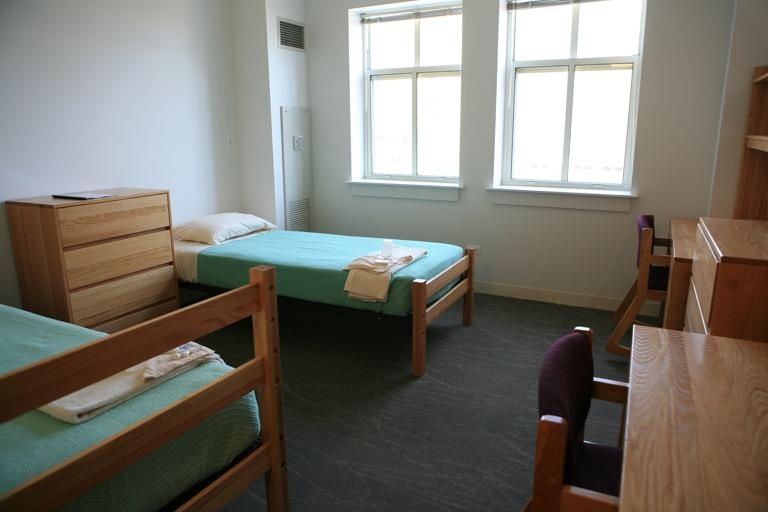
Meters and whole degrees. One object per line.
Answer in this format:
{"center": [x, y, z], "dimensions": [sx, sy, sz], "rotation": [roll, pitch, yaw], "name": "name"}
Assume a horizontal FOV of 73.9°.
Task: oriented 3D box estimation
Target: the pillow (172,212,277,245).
{"center": [-1.565, -0.291, 5.033], "dimensions": [0.435, 0.124, 0.511], "rotation": [12, 20, 38], "name": "pillow"}
